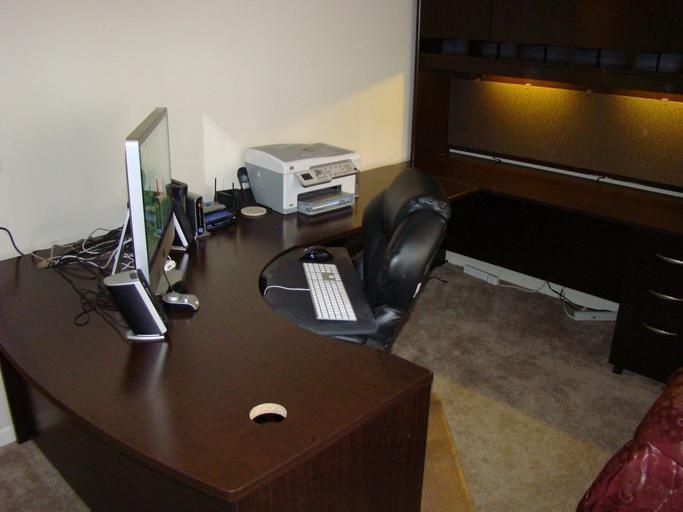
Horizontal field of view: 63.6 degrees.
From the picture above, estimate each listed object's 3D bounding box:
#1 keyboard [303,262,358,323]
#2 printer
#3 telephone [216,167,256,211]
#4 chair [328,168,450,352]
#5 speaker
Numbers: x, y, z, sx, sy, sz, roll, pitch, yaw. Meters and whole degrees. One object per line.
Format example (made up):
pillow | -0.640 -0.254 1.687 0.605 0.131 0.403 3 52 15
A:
keyboard | -0.077 0.130 2.277 0.139 0.372 0.025 -1 47 2
printer | -0.244 -0.526 2.995 0.459 0.291 0.439 -21 36 -37
telephone | -0.572 -0.388 3.120 0.190 0.222 0.111 9 21 40
chair | 0.082 0.053 2.420 0.571 0.822 0.608 -2 30 -14
speaker | -0.681 0.180 1.924 0.234 0.302 0.179 -4 23 -17
